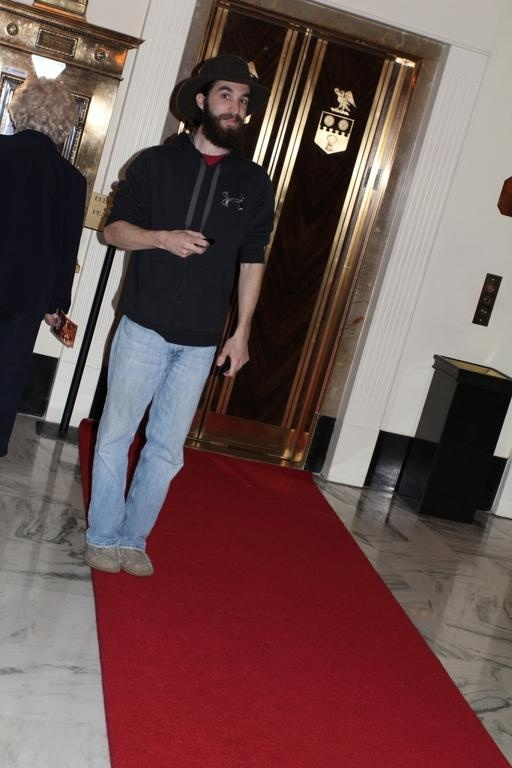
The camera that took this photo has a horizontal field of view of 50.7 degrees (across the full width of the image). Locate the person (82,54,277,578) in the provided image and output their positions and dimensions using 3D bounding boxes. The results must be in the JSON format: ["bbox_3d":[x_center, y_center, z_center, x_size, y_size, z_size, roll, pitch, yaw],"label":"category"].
[{"bbox_3d":[-0.227,-0.219,1.683,0.526,1.649,0.515,9,-3,-10],"label":"person"}]

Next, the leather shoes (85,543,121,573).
[{"bbox_3d":[-0.504,0.576,1.800,0.155,0.101,0.059,-2,-6,39],"label":"leather shoes"}]

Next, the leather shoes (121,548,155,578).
[{"bbox_3d":[-0.399,0.600,1.825,0.062,0.064,0.140,4,-2,-24],"label":"leather shoes"}]
